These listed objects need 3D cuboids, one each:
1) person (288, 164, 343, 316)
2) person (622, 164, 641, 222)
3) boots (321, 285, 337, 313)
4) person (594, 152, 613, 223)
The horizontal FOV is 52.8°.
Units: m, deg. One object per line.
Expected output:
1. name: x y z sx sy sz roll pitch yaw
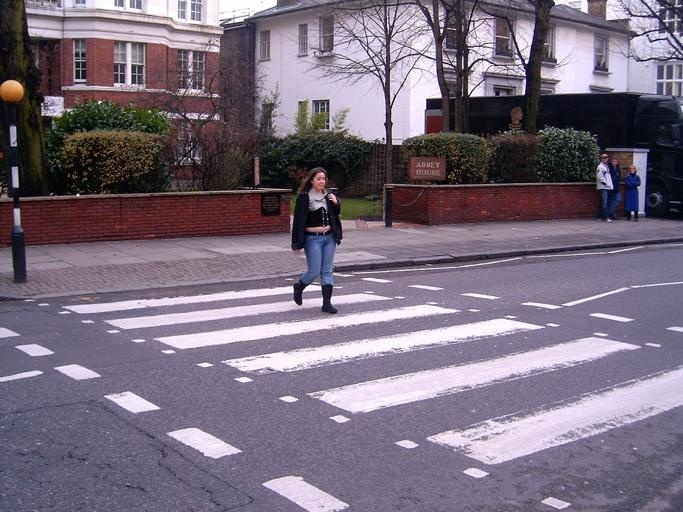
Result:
1. person: -0.392 -0.272 10.868 0.766 2.247 0.705 1 8 0
2. person: 10.661 -2.336 25.164 0.540 1.977 1.540 4 9 22
3. boots: -0.188 0.631 10.939 0.252 0.450 0.591 0 9 -2
4. person: 9.541 -2.520 24.903 0.573 2.397 0.777 4 9 22
